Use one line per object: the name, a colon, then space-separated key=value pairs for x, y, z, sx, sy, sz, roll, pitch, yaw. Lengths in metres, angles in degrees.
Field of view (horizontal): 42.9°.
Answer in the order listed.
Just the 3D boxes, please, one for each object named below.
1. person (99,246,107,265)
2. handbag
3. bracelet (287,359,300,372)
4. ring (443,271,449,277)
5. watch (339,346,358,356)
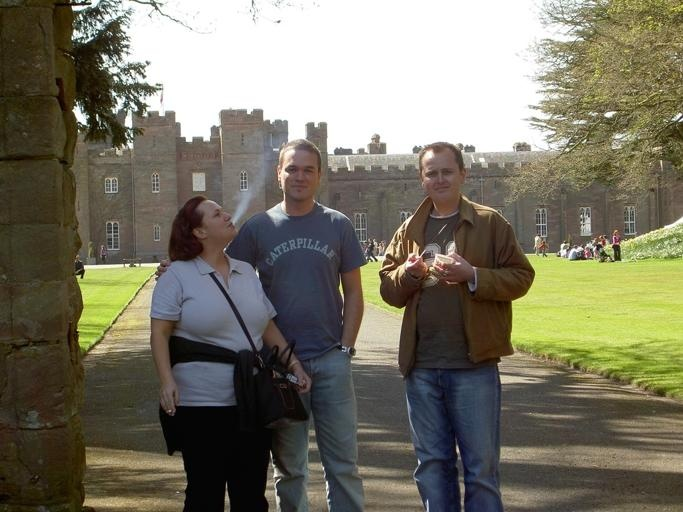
person: x=-15.830 y=-0.127 z=57.400 sx=0.427 sy=1.064 sz=1.132 roll=0 pitch=2 yaw=-15
handbag: x=-0.489 y=0.846 z=5.830 sx=0.270 sy=0.579 sz=0.650 roll=-16 pitch=-11 yaw=16
bracelet: x=-0.332 y=0.747 z=5.952 sx=0.065 sy=0.074 sz=0.036 roll=3 pitch=-1 yaw=-24
ring: x=0.705 y=0.114 z=5.862 sx=0.029 sy=0.035 sz=0.012 roll=-9 pitch=11 yaw=3
watch: x=0.052 y=0.688 z=6.117 sx=0.096 sy=0.060 sz=0.093 roll=10 pitch=1 yaw=-30
